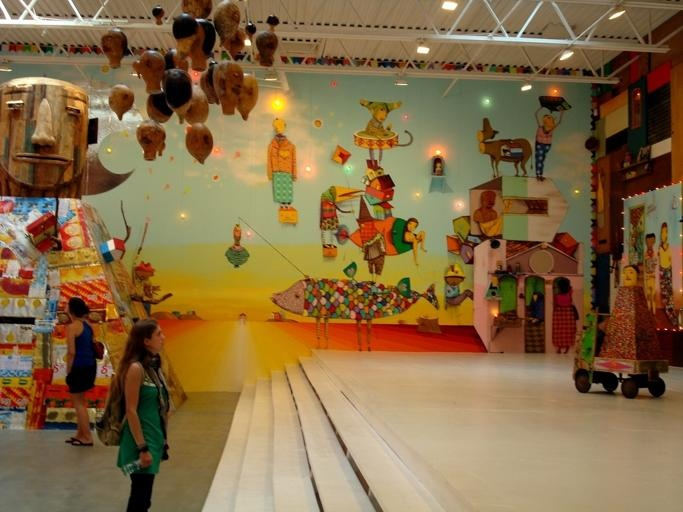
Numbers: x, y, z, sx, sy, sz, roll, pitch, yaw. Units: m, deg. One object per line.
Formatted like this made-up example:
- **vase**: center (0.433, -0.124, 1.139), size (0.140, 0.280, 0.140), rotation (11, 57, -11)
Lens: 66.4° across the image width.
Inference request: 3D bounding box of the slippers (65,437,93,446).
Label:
- **slippers**: center (-3.044, 2.152, 6.035), size (0.268, 0.070, 0.123), rotation (10, -7, -11)

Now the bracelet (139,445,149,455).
- **bracelet**: center (-1.398, 1.353, 3.674), size (0.061, 0.056, 0.035), rotation (-6, 1, -25)

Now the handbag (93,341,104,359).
- **handbag**: center (-2.774, 1.072, 5.955), size (0.074, 0.232, 0.380), rotation (-6, 1, -22)
